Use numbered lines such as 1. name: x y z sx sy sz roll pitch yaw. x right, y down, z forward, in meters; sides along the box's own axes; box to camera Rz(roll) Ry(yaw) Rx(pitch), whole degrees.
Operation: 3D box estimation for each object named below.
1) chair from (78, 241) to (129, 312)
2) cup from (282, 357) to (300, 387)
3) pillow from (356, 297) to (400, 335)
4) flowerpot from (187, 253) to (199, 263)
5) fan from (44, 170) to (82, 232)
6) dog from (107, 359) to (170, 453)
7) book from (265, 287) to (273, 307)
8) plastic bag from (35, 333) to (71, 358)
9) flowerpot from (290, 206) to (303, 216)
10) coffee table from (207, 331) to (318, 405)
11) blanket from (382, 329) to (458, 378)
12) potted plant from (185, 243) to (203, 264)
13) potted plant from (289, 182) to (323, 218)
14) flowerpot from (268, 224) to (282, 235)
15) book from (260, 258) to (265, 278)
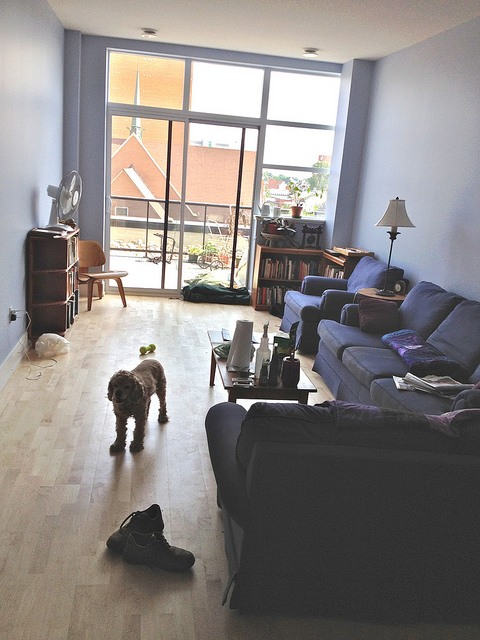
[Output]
1. chair: -1.549 -0.512 5.644 0.515 0.696 0.549 -4 13 -35
2. cup: 0.273 0.280 2.719 0.128 0.181 0.127 1 3 0
3. pillow: 1.064 -0.051 3.930 0.272 0.082 0.264 -3 60 -2
4. flowerpot: -0.593 -0.785 6.517 0.115 0.086 0.094 1 8 -6
5. fan: -1.605 -1.070 4.608 0.293 0.553 0.702 0 14 -14
6. dog: -0.546 0.423 2.754 0.207 0.454 0.609 4 11 8
7. book: 0.359 -0.284 6.275 0.118 0.204 0.209 1 9 0
8. plastic bag: -1.522 0.211 4.150 0.174 0.142 0.234 12 11 -7
9. flowerpot: 0.705 -1.352 6.331 0.116 0.087 0.116 -3 21 -12
10. coffee table: 0.136 0.158 2.771 0.368 0.321 0.670 0 21 -8
11. blanket: 1.163 0.210 3.316 0.279 0.110 0.714 3 13 1
12. potted plant: -0.588 -0.884 6.578 0.233 0.230 0.211 22 31 34
13. potted plant: 0.869 -1.468 6.330 0.372 0.365 0.389 -2 7 -36
14. flowerpot: 0.424 -1.080 6.122 0.119 0.088 0.119 2 14 -2
15. book: 0.282 -0.631 6.247 0.042 0.175 0.175 2 3 9
